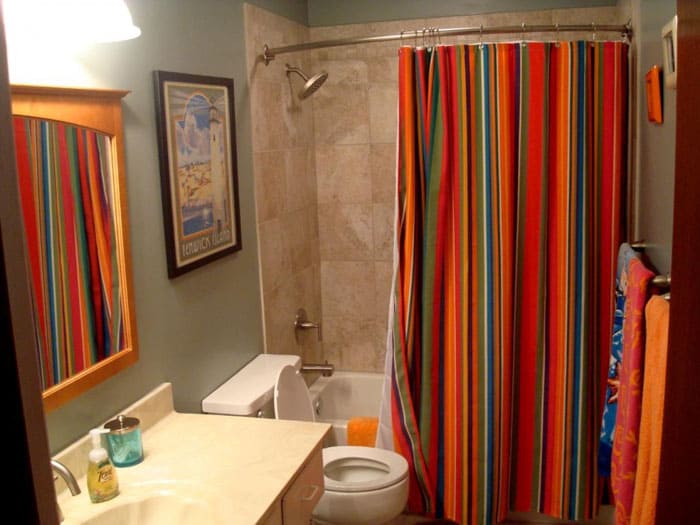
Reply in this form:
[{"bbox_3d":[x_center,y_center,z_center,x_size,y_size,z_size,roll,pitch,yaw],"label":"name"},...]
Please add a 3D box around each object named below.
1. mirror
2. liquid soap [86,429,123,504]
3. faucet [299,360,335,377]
[{"bbox_3d":[-0.781,-0.060,1.796,0.064,0.898,0.412,4,8,19],"label":"mirror"},{"bbox_3d":[-0.667,0.547,1.654,0.078,0.186,0.052,-2,8,-19],"label":"liquid soap"},{"bbox_3d":[-0.169,0.552,3.176,0.190,0.089,0.107,0,0,-9],"label":"faucet"}]
